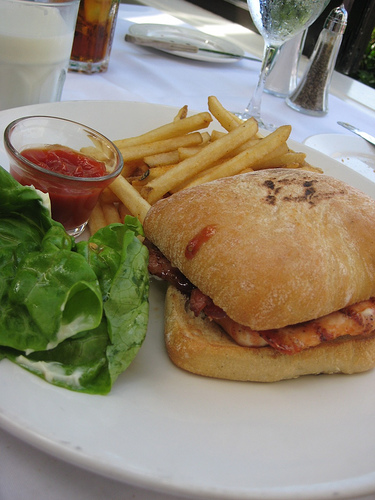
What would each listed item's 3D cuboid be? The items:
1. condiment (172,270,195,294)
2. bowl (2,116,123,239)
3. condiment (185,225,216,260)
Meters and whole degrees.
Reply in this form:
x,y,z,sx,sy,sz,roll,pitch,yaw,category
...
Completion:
x,y,z,sx,sy,sz,roll,pitch,yaw,category
-0.014,0.093,1.396,0.075,0.026,0.053,36,5,-19,condiment
-0.366,-0.207,1.426,0.322,0.245,0.320,19,41,-17,bowl
0.035,-0.014,1.316,0.025,0.104,0.059,42,9,-32,condiment
